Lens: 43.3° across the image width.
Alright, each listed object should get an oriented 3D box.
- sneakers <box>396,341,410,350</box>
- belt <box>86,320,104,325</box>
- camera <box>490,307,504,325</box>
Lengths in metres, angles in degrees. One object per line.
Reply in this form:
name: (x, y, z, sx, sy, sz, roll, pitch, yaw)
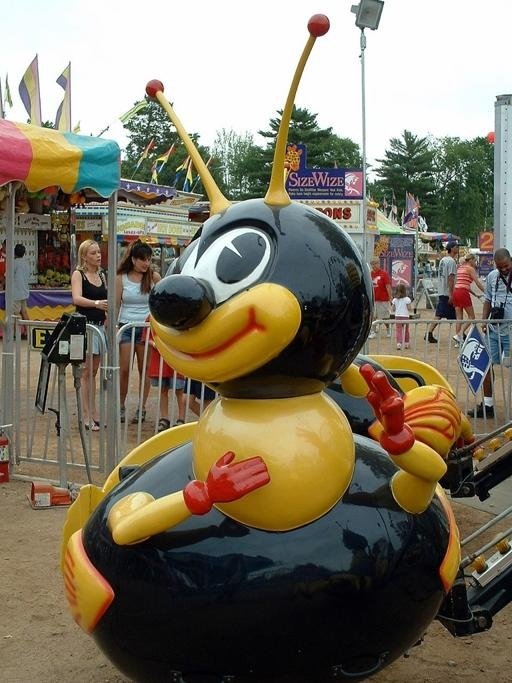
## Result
sneakers: (2.652, 0.083, 11.639, 0.109, 0.147, 0.331, -4, -13, 31)
belt: (-1.590, -0.181, 6.433, 0.099, 0.045, 0.113, 1, -2, -37)
camera: (2.688, -0.323, 7.211, 0.068, 0.138, 0.233, 0, 4, -11)
